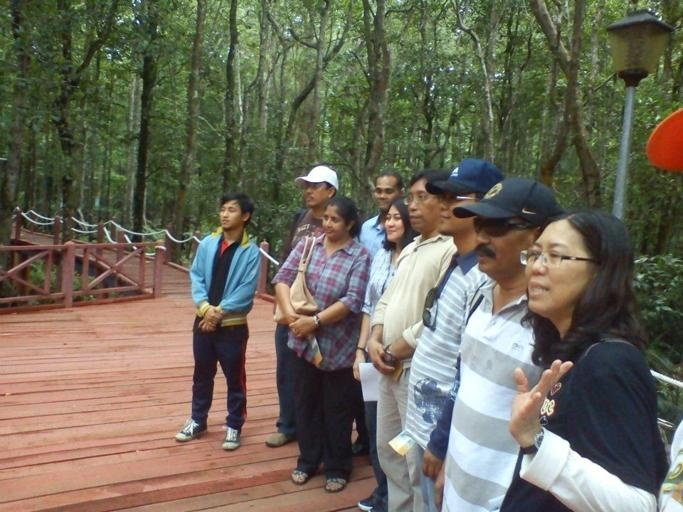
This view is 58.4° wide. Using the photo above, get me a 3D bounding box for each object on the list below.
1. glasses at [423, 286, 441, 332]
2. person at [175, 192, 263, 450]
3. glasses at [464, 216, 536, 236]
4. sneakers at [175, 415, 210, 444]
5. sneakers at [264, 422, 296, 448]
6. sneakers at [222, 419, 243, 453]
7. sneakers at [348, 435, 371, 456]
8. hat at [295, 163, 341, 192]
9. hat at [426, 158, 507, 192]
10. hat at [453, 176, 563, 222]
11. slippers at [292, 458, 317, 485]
[{"bbox_3d":[0.496,0.295,3.412,0.040,0.200,0.115,13,-10,-27],"label":"glasses"},{"bbox_3d":[-1.053,0.510,5.254,0.638,2.112,0.693,3,8,1],"label":"person"},{"bbox_3d":[0.790,-0.138,2.969,0.283,0.091,0.072,7,9,22],"label":"glasses"},{"bbox_3d":[-1.280,1.495,5.261,0.115,0.154,0.353,-1,-5,27],"label":"sneakers"},{"bbox_3d":[-0.509,1.553,5.305,0.114,0.141,0.344,4,1,34],"label":"sneakers"},{"bbox_3d":[-0.916,1.532,5.110,0.090,0.107,0.248,2,-2,3],"label":"sneakers"},{"bbox_3d":[0.165,1.623,5.177,0.076,0.166,0.232,-3,-8,40],"label":"sneakers"},{"bbox_3d":[-0.210,-0.707,5.361,0.324,0.167,0.214,19,2,-30],"label":"hat"},{"bbox_3d":[0.719,-0.446,3.523,0.338,0.175,0.222,7,6,0],"label":"hat"},{"bbox_3d":[0.820,-0.265,3.000,0.381,0.161,0.252,-5,7,-11],"label":"hat"},{"bbox_3d":[-0.286,1.658,4.697,0.094,0.116,0.287,8,-7,17],"label":"slippers"}]
